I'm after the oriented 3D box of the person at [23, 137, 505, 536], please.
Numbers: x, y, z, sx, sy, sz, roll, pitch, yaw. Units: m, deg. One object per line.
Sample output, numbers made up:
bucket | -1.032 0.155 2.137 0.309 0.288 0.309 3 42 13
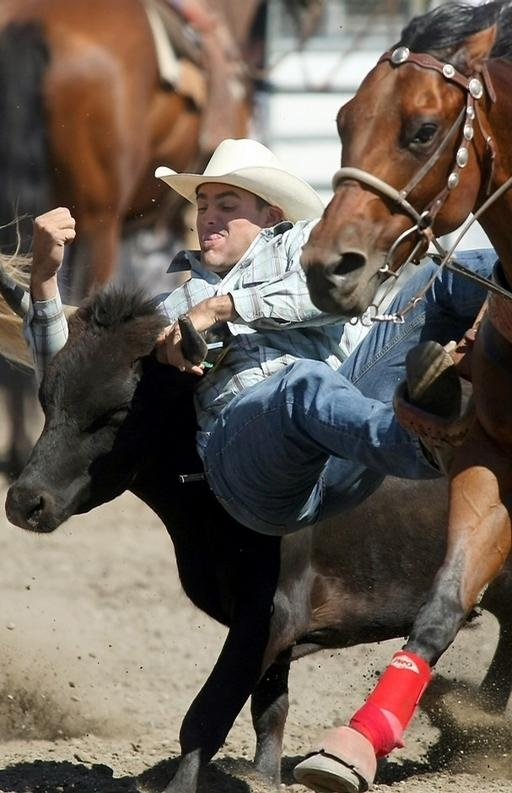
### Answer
person | 0.028 -0.163 2.515 1.116 1.034 0.818 12 62 -38
